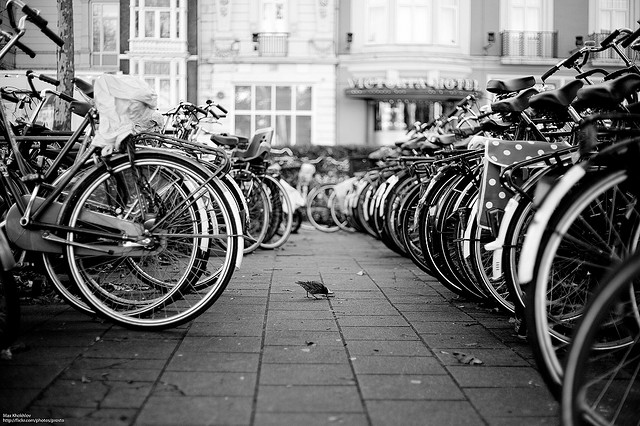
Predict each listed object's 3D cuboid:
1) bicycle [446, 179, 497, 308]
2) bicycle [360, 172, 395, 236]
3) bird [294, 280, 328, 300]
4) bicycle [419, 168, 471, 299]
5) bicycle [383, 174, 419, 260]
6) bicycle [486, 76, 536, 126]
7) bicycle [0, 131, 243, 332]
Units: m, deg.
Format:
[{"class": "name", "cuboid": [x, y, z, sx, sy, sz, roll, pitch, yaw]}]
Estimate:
[{"class": "bicycle", "cuboid": [1.214, 0.196, 6.334, 0.180, 0.837, 0.898, -4, -3, 23]}, {"class": "bicycle", "cuboid": [0.704, -0.160, 10.108, 0.696, 0.645, 0.161, 7, 1, -26]}, {"class": "bird", "cuboid": [-0.072, 0.686, 7.086, 0.311, 0.124, 0.122, 21, 2, 10]}, {"class": "bicycle", "cuboid": [0.981, 0.174, 6.727, 0.224, 0.909, 0.945, -6, 37, 26]}, {"class": "bicycle", "cuboid": [0.888, -0.023, 8.808, 0.186, 0.786, 0.801, 4, 3, 35]}, {"class": "bicycle", "cuboid": [1.605, -0.971, 6.268, 0.467, 0.296, 0.144, -18, -3, -8]}, {"class": "bicycle", "cuboid": [-1.450, 0.125, 5.878, 1.984, 1.187, 1.221, 5, 0, 0]}]
